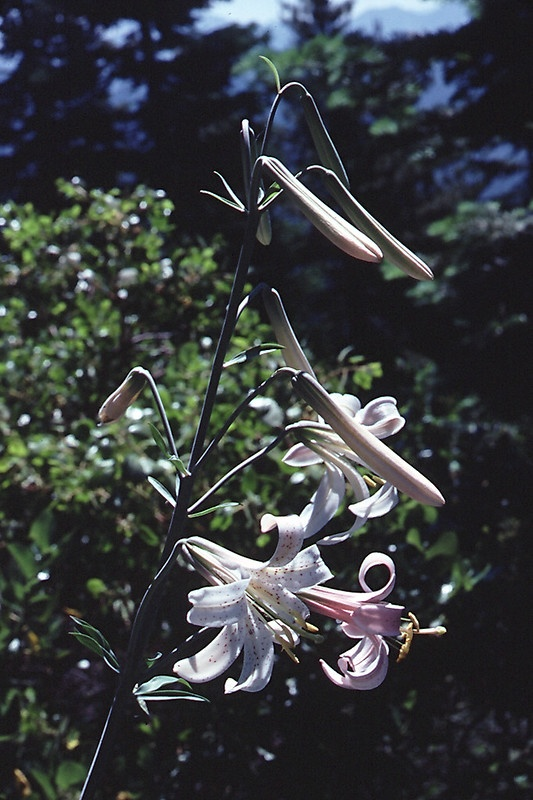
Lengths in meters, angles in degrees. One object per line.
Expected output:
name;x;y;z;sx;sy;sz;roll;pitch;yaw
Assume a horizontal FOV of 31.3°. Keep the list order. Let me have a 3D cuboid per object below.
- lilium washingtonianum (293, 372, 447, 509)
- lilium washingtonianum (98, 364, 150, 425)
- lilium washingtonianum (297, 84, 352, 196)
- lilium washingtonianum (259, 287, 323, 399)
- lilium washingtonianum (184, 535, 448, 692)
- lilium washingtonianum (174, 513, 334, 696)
lilium washingtonianum;0.225;0.097;2.109;0.074;0.496;0.090;-47;-28;0
lilium washingtonianum;-0.286;-0.009;1.928;0.112;0.115;0.067;-5;9;-1
lilium washingtonianum;0.120;-0.538;1.965;0.061;0.277;0.056;-24;2;11
lilium washingtonianum;0.031;-0.125;1.959;0.064;0.271;0.076;-29;-11;-8
lilium washingtonianum;0.081;0.413;1.778;0.419;0.218;0.369;10;20;17
lilium washingtonianum;-0.045;0.376;1.805;0.333;0.328;0.143;-9;10;-23
